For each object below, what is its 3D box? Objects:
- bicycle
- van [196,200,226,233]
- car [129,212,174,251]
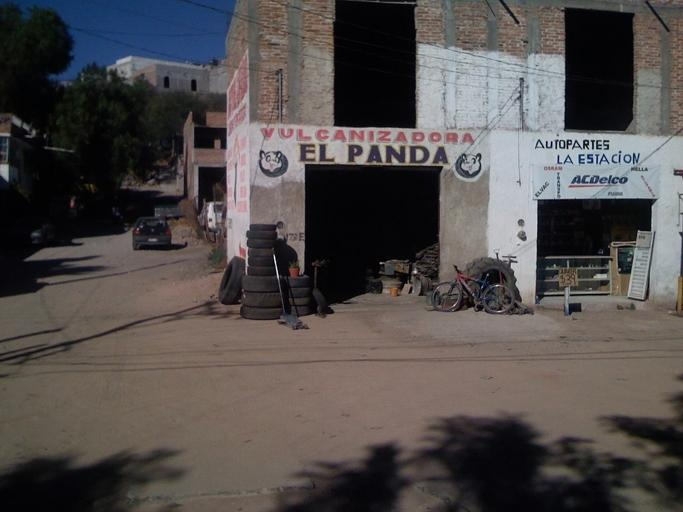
[{"bbox_3d":[3.811,1.014,20.010,2.352,1.178,0.924,2,12,7],"label":"bicycle"},{"bbox_3d":[-7.102,-2.176,37.793,1.329,1.309,3.249,-3,18,-16],"label":"van"},{"bbox_3d":[-10.004,-0.954,36.052,1.777,1.919,3.835,0,-6,-17],"label":"car"}]
